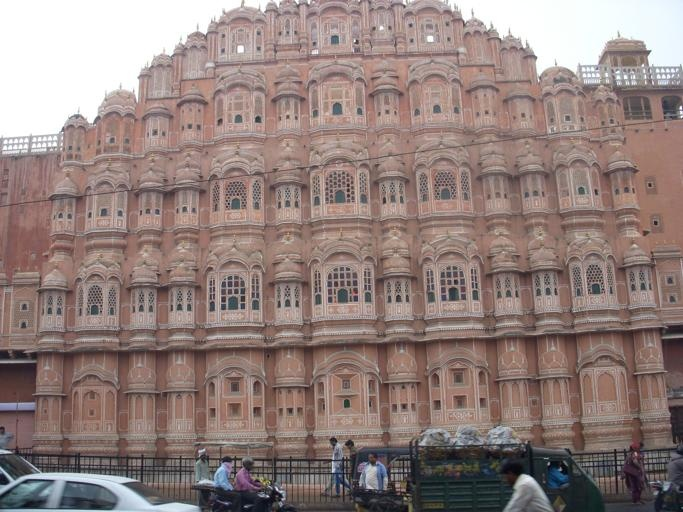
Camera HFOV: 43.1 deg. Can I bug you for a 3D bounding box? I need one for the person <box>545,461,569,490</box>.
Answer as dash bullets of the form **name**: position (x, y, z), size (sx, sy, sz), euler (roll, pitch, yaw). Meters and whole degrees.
- **person**: position (6.862, 7.065, 27.836), size (0.598, 0.945, 0.800), euler (10, -18, -19)
